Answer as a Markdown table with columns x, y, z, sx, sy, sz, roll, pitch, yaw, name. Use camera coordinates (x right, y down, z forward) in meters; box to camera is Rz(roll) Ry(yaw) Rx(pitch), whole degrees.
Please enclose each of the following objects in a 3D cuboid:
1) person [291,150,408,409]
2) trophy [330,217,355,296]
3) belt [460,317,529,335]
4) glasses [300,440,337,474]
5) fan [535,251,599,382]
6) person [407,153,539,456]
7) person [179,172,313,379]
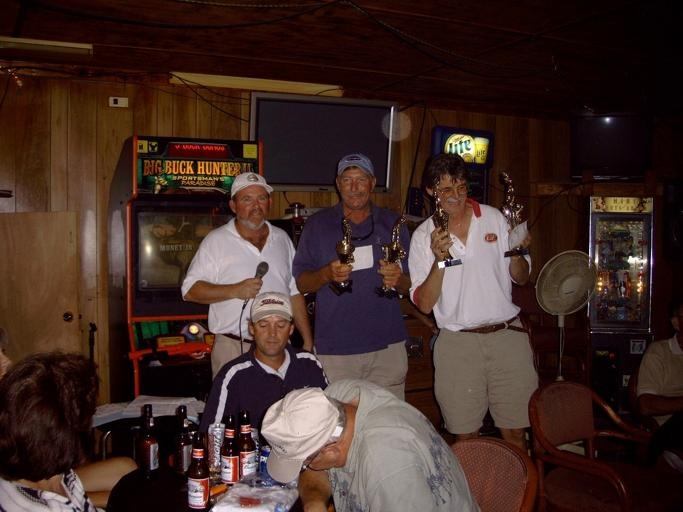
| x | y | z | sx | sy | sz | roll | pitch | yaw | name |
| --- | --- | --- | --- | --- | --- | --- | --- | --- | --- |
| 0.059 | 0.222 | 4.080 | 0.709 | 1.886 | 0.667 | 2 | 7 | -16 | person |
| 0.006 | -0.002 | 3.838 | 0.154 | 0.523 | 0.374 | 0 | 1 | 0 | trophy |
| 1.047 | 0.468 | 3.691 | 0.213 | 0.083 | 0.200 | -8 | -2 | 8 | belt |
| -0.102 | 0.902 | 2.531 | 0.176 | 0.048 | 0.176 | -40 | 2 | 3 | glasses |
| 1.484 | 0.418 | 3.867 | 0.469 | 0.922 | 0.262 | 2 | 0 | -16 | fan |
| 0.938 | 0.503 | 3.704 | 0.857 | 2.425 | 0.743 | -8 | -2 | 18 | person |
| -0.750 | 0.063 | 4.236 | 0.694 | 1.890 | 0.705 | 0 | 1 | -1 | person |
